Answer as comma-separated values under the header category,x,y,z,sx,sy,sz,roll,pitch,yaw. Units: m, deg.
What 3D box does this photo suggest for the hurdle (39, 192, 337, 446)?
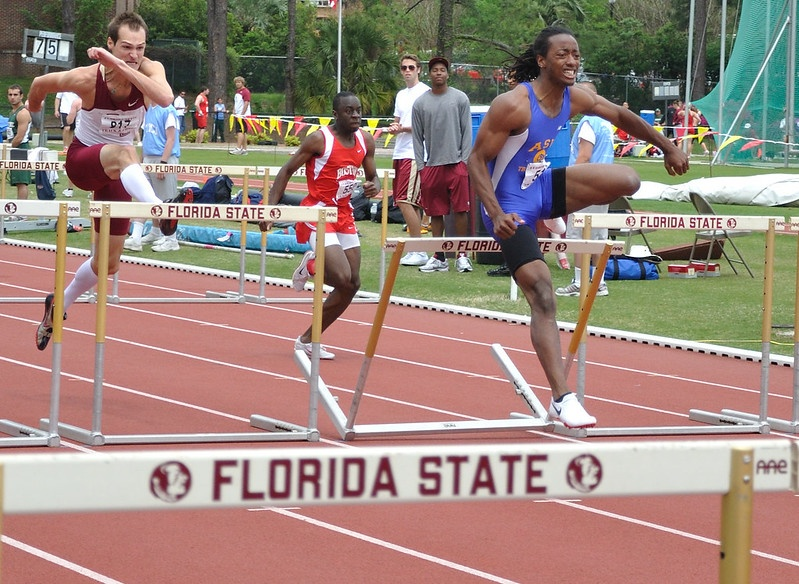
category,x,y,z,sx,sy,sz,roll,pitch,yaw
hurdle,-0.897,0.134,4.503,1.480,1.220,1.101,3,-4,-23

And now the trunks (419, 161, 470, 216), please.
category,x,y,z,sx,sy,sz,roll,pitch,yaw
trunks,0.530,-1.124,10.810,0.610,0.579,0.360,-4,-11,15

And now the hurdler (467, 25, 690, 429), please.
category,x,y,z,sx,sy,sz,roll,pitch,yaw
hurdler,0.856,-0.364,5.008,1.015,2.104,0.602,-3,-7,-6

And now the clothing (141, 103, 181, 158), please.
category,x,y,z,sx,sy,sz,roll,pitch,yaw
clothing,-2.978,-2.039,12.197,0.412,0.692,0.635,-1,4,-45

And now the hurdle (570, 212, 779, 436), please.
category,x,y,z,sx,sy,sz,roll,pitch,yaw
hurdle,1.393,0.143,5.718,1.328,1.133,1.040,6,-5,-17

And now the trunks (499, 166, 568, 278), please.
category,x,y,z,sx,sy,sz,roll,pitch,yaw
trunks,0.701,-0.363,5.050,0.212,0.562,0.343,2,42,25

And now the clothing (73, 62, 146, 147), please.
category,x,y,z,sx,sy,sz,roll,pitch,yaw
clothing,-1.714,-1.117,5.736,0.350,0.518,0.414,33,29,31

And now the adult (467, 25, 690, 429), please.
category,x,y,z,sx,sy,sz,roll,pitch,yaw
adult,0.857,-0.364,5.008,1.016,2.104,0.602,-3,-7,-6

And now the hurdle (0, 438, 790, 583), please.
category,x,y,z,sx,sy,sz,roll,pitch,yaw
hurdle,-0.024,0.371,1.915,1.434,0.181,0.068,0,9,-11

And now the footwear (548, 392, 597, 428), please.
category,x,y,z,sx,sy,sz,roll,pitch,yaw
footwear,0.862,0.592,4.918,0.142,0.122,0.288,-3,4,-31

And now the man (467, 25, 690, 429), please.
category,x,y,z,sx,sy,sz,roll,pitch,yaw
man,0.857,-0.364,5.008,1.016,2.104,0.602,-3,-7,-6

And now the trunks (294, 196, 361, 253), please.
category,x,y,z,sx,sy,sz,roll,pitch,yaw
trunks,-0.492,-0.481,6.855,0.390,0.458,0.299,-7,3,-38

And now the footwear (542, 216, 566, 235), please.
category,x,y,z,sx,sy,sz,roll,pitch,yaw
footwear,1.477,-0.640,9.186,0.199,0.150,0.346,-6,15,-14

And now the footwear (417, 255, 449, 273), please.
category,x,y,z,sx,sy,sz,roll,pitch,yaw
footwear,0.418,-0.323,11.306,0.378,0.169,0.143,0,5,-29

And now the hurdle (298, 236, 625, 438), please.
category,x,y,z,sx,sy,sz,roll,pitch,yaw
hurdle,0.299,0.164,5.342,1.450,0.997,1.246,2,12,-21

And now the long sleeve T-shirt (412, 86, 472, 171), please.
category,x,y,z,sx,sy,sz,roll,pitch,yaw
long sleeve T-shirt,0.480,-1.813,10.672,0.690,0.836,0.316,-3,11,14
